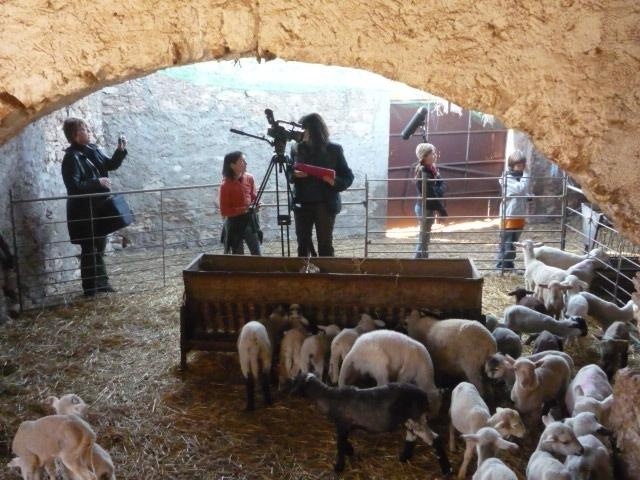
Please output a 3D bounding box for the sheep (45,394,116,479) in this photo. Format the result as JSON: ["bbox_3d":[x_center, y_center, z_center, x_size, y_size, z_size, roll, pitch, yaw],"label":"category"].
[{"bbox_3d":[-1.790,1.498,4.903,0.207,0.508,0.827,-9,34,-38],"label":"sheep"}]

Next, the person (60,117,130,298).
[{"bbox_3d":[-2.774,-0.374,8.135,0.715,2.244,0.798,-1,8,-3],"label":"person"}]

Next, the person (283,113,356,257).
[{"bbox_3d":[0.020,-0.606,7.457,0.659,1.627,0.477,-1,8,-2],"label":"person"}]

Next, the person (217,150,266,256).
[{"bbox_3d":[-0.958,-0.424,8.025,0.501,1.292,0.585,-2,8,-9],"label":"person"}]
